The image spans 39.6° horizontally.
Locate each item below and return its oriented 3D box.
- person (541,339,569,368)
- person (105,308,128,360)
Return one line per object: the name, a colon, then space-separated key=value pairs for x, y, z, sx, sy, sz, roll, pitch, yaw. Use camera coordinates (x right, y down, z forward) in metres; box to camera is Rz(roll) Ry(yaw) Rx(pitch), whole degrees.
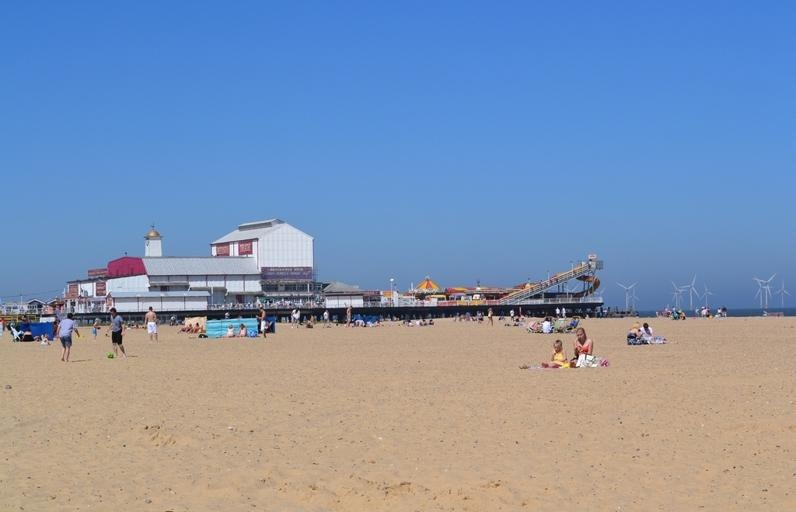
person: x=5.052 y=3.145 z=36.544 sx=1.320 sy=0.990 sz=1.118 roll=-2 pitch=-7 yaw=19
person: x=-10.384 y=2.791 z=41.034 sx=0.769 sy=1.754 sz=0.578 roll=-8 pitch=-9 yaw=24
